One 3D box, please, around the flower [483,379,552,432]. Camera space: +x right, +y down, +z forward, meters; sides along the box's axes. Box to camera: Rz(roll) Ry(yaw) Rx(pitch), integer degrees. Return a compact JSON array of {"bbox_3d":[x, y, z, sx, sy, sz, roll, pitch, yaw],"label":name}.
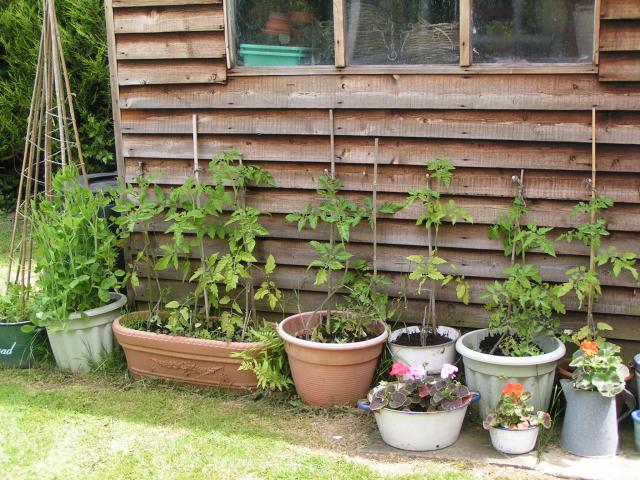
[{"bbox_3d":[1.148,0.893,3.528,0.345,0.325,0.303,-1,0,2],"label":"flower"}]
